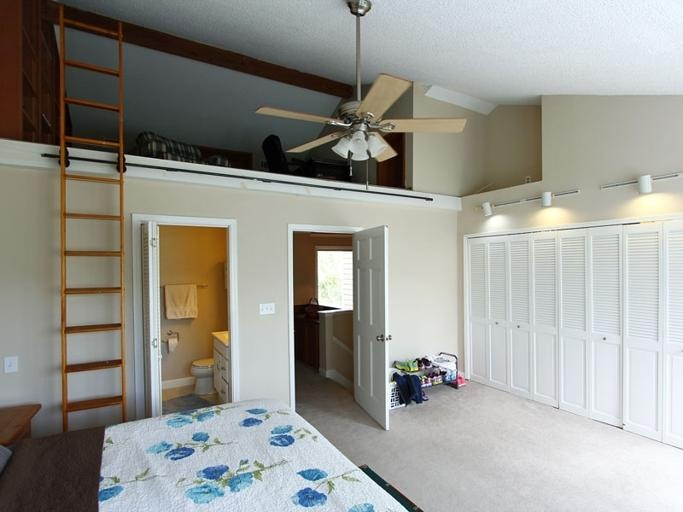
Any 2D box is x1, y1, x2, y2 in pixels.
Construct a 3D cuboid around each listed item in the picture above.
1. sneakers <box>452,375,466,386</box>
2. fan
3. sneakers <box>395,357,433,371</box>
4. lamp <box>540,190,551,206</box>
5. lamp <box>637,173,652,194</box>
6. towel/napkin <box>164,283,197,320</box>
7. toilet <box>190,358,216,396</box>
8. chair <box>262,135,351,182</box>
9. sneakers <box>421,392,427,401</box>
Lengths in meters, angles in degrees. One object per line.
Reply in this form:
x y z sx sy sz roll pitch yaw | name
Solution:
1.703 1.799 6.892 0.146 0.089 0.214 -2 -8 7 | sneakers
0.122 -1.814 4.992 1.530 1.598 2.497 -3 11 -10 | fan
0.973 1.502 6.619 0.233 0.102 0.313 1 -3 -37 | sneakers
2.619 -0.725 6.098 0.097 0.199 0.113 -11 15 -41 | lamp
3.400 -0.806 5.331 0.113 0.214 0.145 -12 16 -43 | lamp
-2.323 0.646 6.860 0.466 0.484 0.156 -3 -3 -31 | towel/napkin
-1.979 1.718 6.815 0.414 0.479 0.411 3 -3 -25 | toilet
-0.513 -1.216 6.386 0.971 0.838 0.794 -2 5 -18 | chair
1.110 1.884 6.438 0.063 0.052 0.130 -3 6 -21 | sneakers
